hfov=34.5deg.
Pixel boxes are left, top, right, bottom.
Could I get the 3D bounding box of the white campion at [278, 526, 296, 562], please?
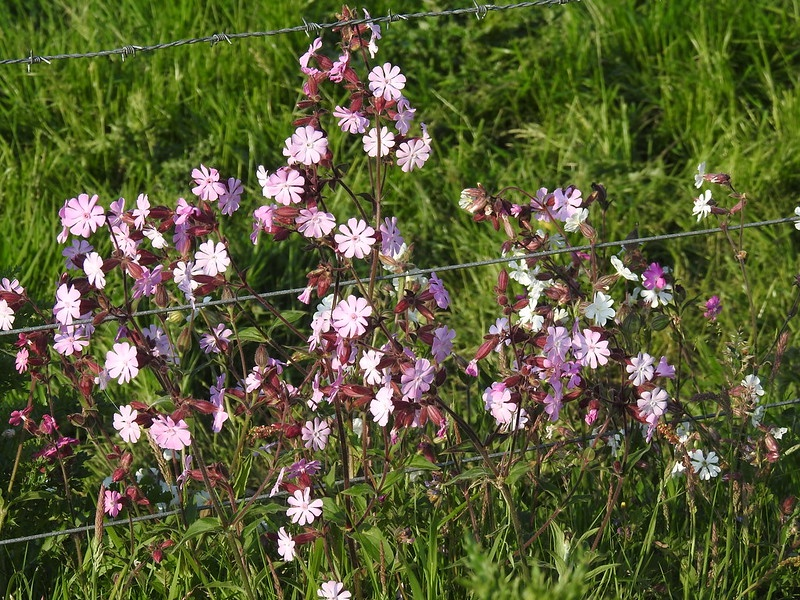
[{"bbox_3d":[-0.397,0.847,4.492,0.025,0.112,0.103,-5,39,-23],"label":"white campion"}]
